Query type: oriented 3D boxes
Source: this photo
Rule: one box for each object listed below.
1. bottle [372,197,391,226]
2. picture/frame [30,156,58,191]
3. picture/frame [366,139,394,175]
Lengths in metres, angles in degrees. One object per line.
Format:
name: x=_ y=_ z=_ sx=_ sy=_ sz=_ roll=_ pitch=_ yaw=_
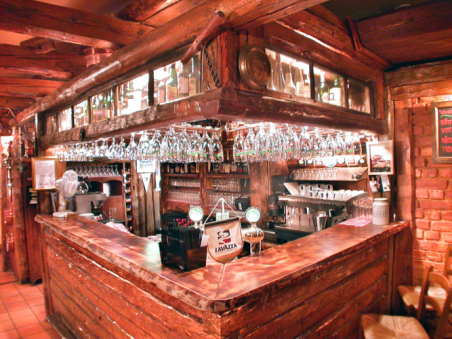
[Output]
bottle: x=1.881 y=0.517 z=4.162 sx=0.193 sy=0.302 sz=0.194 roll=-1 pitch=3 yaw=0
picture/frame: x=-2.664 y=0.072 z=5.060 sx=0.081 sy=0.652 sz=0.475 roll=-6 pitch=-7 yaw=43
picture/frame: x=1.929 y=-0.148 z=4.273 sx=0.065 sy=0.614 sz=0.412 roll=4 pitch=-5 yaw=-41
